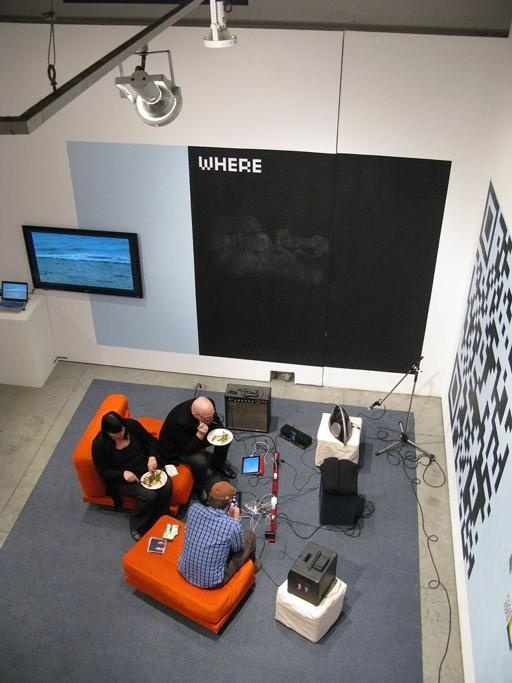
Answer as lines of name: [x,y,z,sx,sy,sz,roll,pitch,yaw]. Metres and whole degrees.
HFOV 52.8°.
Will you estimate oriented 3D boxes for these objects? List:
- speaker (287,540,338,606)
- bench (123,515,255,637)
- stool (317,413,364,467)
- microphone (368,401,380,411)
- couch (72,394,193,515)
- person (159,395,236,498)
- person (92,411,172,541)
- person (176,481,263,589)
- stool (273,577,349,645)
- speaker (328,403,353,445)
speaker: [0.410,1.726,3.839,0.282,0.342,0.344,18,30,31]
bench: [-0.568,1.820,4.036,0.956,0.476,0.658,27,50,25]
stool: [0.861,0.994,5.338,0.465,0.406,0.522,6,40,12]
microphone: [1.400,0.774,6.140,0.065,0.237,0.064,-10,67,-19]
couch: [-1.152,1.051,5.070,1.058,0.731,1.177,4,37,1]
person: [-0.572,1.078,5.098,0.507,0.775,0.422,25,56,20]
person: [-1.167,1.293,4.781,0.586,1.123,0.538,8,41,35]
person: [-0.297,1.563,4.096,0.386,0.764,0.619,19,59,8]
stool: [0.401,2.009,3.944,0.467,0.380,0.482,24,44,31]
speaker: [0.849,0.835,5.215,0.109,0.358,0.256,-4,13,-15]
